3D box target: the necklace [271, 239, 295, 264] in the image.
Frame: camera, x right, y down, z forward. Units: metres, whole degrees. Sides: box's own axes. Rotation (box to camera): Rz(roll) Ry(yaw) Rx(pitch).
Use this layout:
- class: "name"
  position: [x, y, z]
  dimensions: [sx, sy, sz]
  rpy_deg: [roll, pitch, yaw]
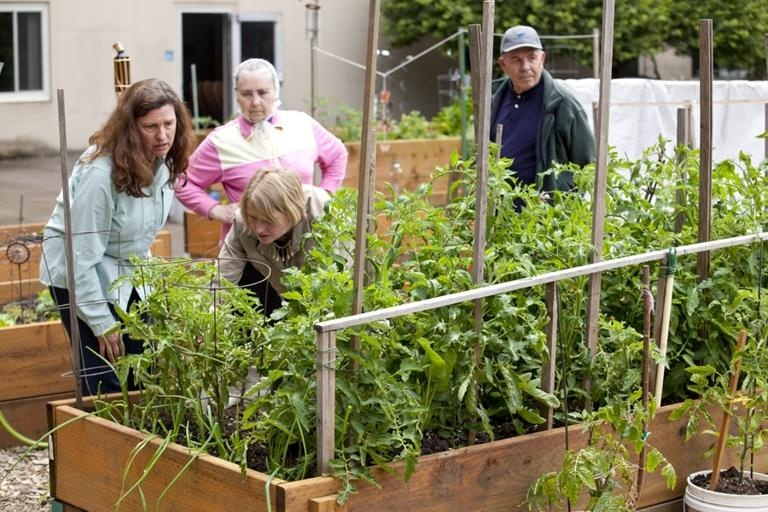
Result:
- class: "necklace"
  position: [-0.570, -0.034, 6.099]
  dimensions: [0.116, 0.158, 0.052]
  rpy_deg: [2, 10, 10]

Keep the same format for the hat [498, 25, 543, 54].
- class: "hat"
  position: [0.901, -1.433, 7.031]
  dimensions: [0.263, 0.180, 0.257]
  rpy_deg: [-1, 6, 8]
